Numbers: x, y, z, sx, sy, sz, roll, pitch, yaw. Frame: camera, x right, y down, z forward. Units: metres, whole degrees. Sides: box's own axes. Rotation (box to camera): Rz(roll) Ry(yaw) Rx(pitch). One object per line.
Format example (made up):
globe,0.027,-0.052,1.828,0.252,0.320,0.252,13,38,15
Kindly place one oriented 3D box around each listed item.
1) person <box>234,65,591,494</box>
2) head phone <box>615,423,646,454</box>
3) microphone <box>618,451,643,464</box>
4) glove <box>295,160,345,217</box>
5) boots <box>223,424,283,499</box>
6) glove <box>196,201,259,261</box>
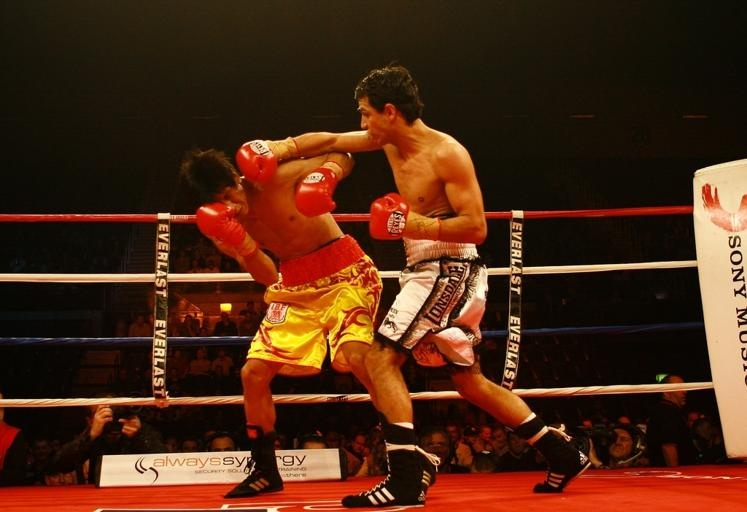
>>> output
person,0.266,0.237,4.137,1.193,2.716,1.544,-22,21,-26
head phone,2.161,1.501,5.517,0.218,0.244,0.140,5,-2,23
microphone,2.107,1.616,5.323,0.193,0.061,0.138,-15,-4,-9
glove,-0.353,-0.400,4.185,0.305,0.344,0.335,-10,19,5
boots,-0.739,1.346,4.271,0.522,0.549,0.261,2,-13,-9
glove,-0.949,-0.179,4.286,0.286,0.380,0.174,-22,27,53
